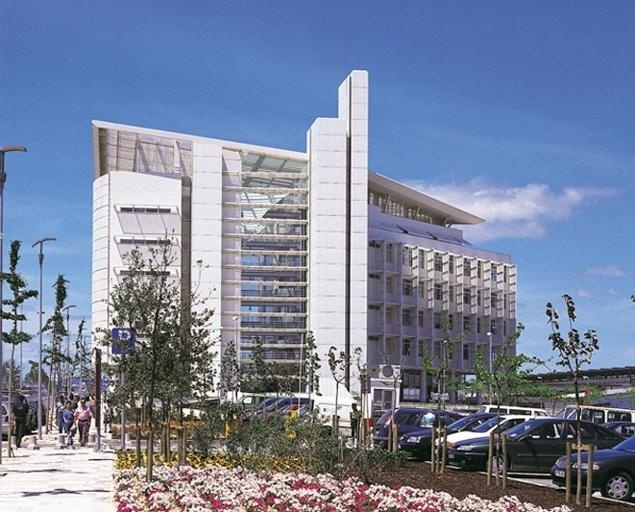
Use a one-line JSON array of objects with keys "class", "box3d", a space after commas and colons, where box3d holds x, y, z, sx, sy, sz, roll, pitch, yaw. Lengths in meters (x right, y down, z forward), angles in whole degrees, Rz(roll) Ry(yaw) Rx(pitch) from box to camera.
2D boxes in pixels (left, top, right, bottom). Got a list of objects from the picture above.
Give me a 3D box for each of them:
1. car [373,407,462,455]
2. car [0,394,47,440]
[{"class": "car", "box3d": [3.503, 6.005, 40.697, 1.533, 1.281, 3.491, -1, 0, 40]}, {"class": "car", "box3d": [-12.730, 7.081, 49.585, 1.774, 1.837, 4.213, 0, -1, 0]}]
